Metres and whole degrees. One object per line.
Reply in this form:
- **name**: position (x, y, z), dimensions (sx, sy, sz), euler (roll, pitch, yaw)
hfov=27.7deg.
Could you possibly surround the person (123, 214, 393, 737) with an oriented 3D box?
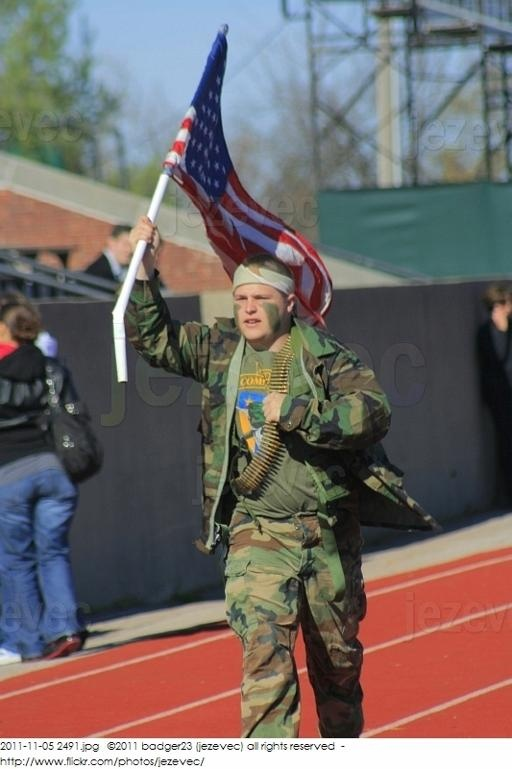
- **person**: position (0.028, 0.485, 4.071), dimensions (0.916, 2.268, 0.807), euler (-5, 5, -6)
